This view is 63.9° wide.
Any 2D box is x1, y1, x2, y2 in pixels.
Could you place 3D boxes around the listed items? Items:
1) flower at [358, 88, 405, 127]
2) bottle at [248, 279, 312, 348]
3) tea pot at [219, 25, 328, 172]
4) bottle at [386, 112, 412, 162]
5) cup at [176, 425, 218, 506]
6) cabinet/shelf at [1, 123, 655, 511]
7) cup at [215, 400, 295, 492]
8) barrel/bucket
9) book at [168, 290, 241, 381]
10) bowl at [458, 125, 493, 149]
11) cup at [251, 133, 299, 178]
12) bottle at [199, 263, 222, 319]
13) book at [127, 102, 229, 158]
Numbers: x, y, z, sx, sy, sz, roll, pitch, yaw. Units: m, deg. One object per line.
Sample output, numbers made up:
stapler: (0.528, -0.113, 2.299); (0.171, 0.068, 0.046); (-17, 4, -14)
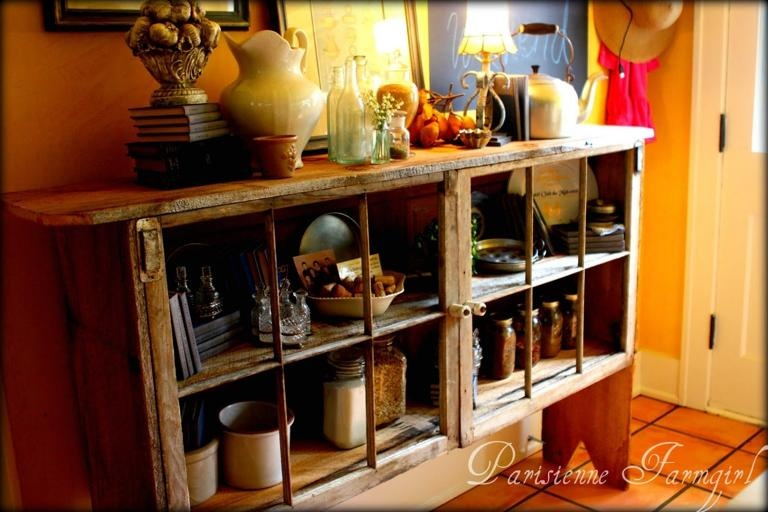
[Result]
flower: (-0.013, -0.517, 2.140); (0.145, 0.140, 0.140); (22, 28, 35)
bottle: (-0.310, 0.179, 1.975); (0.237, 0.226, 0.151); (4, 13, 12)
tea pot: (-0.366, -0.539, 2.058); (0.354, 0.449, 0.397); (12, 23, 30)
bottle: (0.042, -0.422, 2.139); (0.102, 0.163, 0.097); (-1, 18, 0)
cup: (-0.558, 0.674, 1.933); (0.137, 0.152, 0.158); (4, 6, 37)
cabinet/shelf: (-0.208, 0.170, 2.120); (1.746, 1.019, 0.497); (-12, 13, -43)
cup: (-0.432, 0.623, 2.044); (0.255, 0.191, 0.238); (4, 11, -1)
barrel/bucket: (-0.431, 0.626, 2.051); (0.247, 0.196, 0.256); (3, 9, 0)
book: (-0.533, 0.227, 1.793); (0.175, 0.082, 0.230); (-9, 24, -22)
bowl: (0.344, -0.454, 2.371); (0.103, 0.054, 0.101); (0, 6, 0)
cup: (-0.321, -0.320, 1.893); (0.131, 0.099, 0.136); (-1, 17, 0)
bottle: (-0.566, 0.109, 1.938); (0.104, 0.149, 0.101); (3, 10, -1)
book: (-0.602, -0.355, 1.813); (0.193, 0.085, 0.191); (2, 11, 26)
